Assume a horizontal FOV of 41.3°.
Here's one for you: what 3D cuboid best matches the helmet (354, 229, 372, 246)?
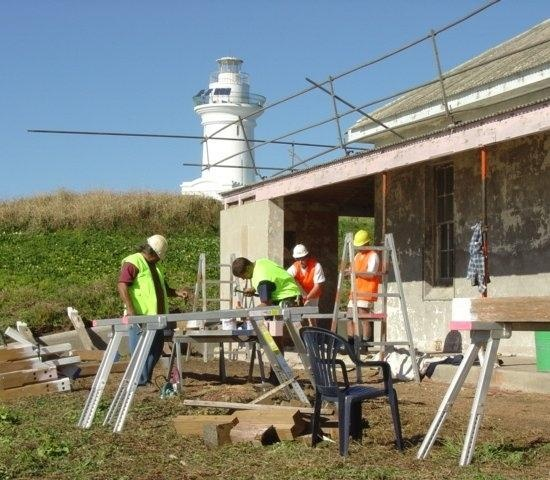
[{"bbox_3d":[1.288,-0.007,10.863,0.184,0.159,0.294,-3,27,19],"label":"helmet"}]

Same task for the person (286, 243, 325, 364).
[{"bbox_3d":[0.434,0.888,11.758,0.873,1.528,0.591,-10,10,-41],"label":"person"}]

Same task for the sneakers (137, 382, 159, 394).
[{"bbox_3d":[-1.558,1.842,8.976,0.146,0.062,0.136,4,21,-47],"label":"sneakers"}]

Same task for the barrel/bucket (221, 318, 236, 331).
[{"bbox_3d":[-0.555,1.030,8.897,0.145,0.105,0.675,-1,-1,-9],"label":"barrel/bucket"}]

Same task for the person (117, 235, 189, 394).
[{"bbox_3d":[-1.493,0.878,8.610,0.688,1.867,1.199,-1,-1,-9],"label":"person"}]

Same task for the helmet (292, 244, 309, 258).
[{"bbox_3d":[0.401,0.201,11.713,0.202,0.170,0.440,-1,-1,-2],"label":"helmet"}]

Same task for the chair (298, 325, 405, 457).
[{"bbox_3d":[0.689,1.336,6.594,0.825,1.134,0.871,-5,-2,32],"label":"chair"}]

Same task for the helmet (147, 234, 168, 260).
[{"bbox_3d":[-1.420,0.093,8.872,0.199,0.156,0.282,41,7,39],"label":"helmet"}]
